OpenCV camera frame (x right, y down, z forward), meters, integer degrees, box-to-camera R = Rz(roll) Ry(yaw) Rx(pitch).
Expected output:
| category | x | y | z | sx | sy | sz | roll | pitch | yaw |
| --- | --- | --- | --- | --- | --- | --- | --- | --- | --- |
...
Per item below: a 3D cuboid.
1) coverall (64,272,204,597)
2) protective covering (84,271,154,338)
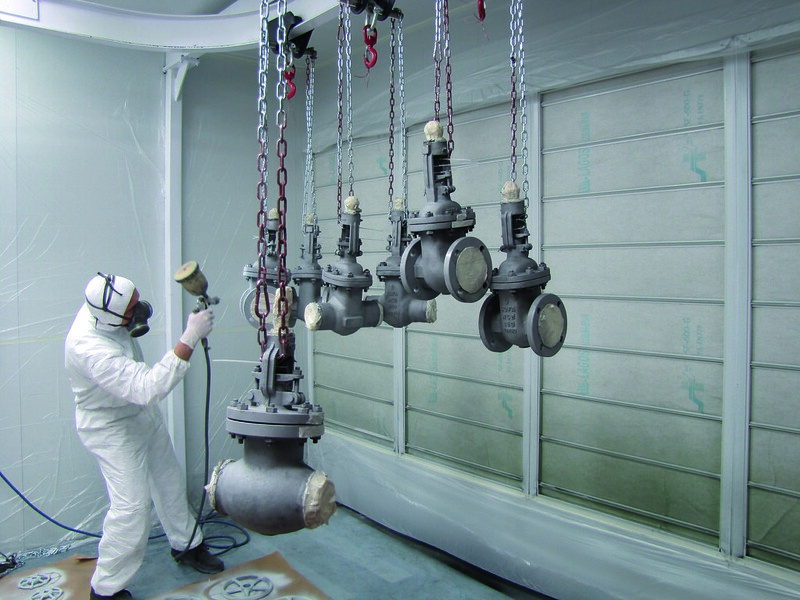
| category | x | y | z | sx | sy | sz | roll | pitch | yaw |
| --- | --- | --- | --- | --- | --- | --- | --- | --- | --- |
| coverall | -1.619 | 0.829 | 3.694 | 0.788 | 1.995 | 0.680 | -5 | 10 | -27 |
| protective covering | -1.711 | 0.061 | 3.548 | 0.448 | 0.393 | 0.312 | -9 | 33 | -28 |
